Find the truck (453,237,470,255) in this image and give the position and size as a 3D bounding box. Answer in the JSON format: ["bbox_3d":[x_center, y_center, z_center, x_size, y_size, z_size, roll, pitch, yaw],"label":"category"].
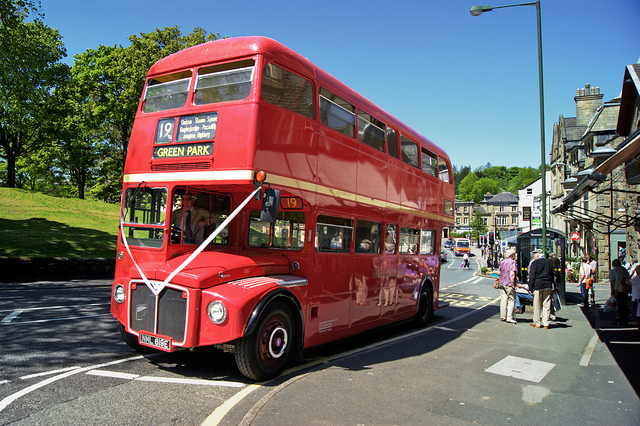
[{"bbox_3d":[23.633,5.673,75.741,2.821,2.822,4.606,0,-6,7],"label":"truck"}]

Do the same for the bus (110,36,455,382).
[{"bbox_3d":[-0.962,0.367,10.411,3.579,4.764,8.942,-1,-5,37],"label":"bus"}]

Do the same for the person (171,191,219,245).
[{"bbox_3d":[-2.808,0.110,9.924,0.986,1.563,0.547,-4,-6,-12],"label":"person"}]

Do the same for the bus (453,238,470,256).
[{"bbox_3d":[23.734,5.600,75.167,2.476,2.401,3.992,0,-6,12],"label":"bus"}]

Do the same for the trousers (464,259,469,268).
[{"bbox_3d":[14.831,5.080,45.893,0.308,0.957,1.563,3,4,18],"label":"trousers"}]

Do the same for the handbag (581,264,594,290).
[{"bbox_3d":[11.352,2.919,19.146,0.535,0.482,0.265,0,4,-33],"label":"handbag"}]

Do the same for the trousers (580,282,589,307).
[{"bbox_3d":[11.308,3.478,19.291,0.326,1.137,0.728,4,4,30],"label":"trousers"}]

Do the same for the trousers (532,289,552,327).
[{"bbox_3d":[7.217,3.051,14.688,0.508,1.227,0.424,4,3,26],"label":"trousers"}]

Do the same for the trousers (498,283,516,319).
[{"bbox_3d":[6.265,2.964,15.213,0.538,1.240,0.685,4,3,25],"label":"trousers"}]

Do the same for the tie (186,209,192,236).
[{"bbox_3d":[-2.892,0.208,9.929,0.136,0.552,0.034,-1,4,-44],"label":"tie"}]
